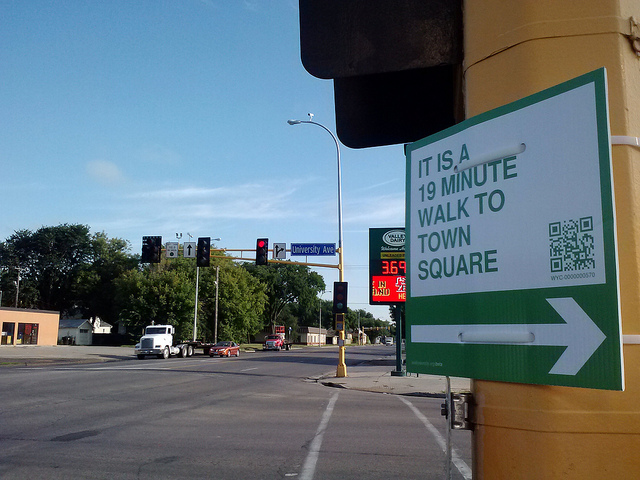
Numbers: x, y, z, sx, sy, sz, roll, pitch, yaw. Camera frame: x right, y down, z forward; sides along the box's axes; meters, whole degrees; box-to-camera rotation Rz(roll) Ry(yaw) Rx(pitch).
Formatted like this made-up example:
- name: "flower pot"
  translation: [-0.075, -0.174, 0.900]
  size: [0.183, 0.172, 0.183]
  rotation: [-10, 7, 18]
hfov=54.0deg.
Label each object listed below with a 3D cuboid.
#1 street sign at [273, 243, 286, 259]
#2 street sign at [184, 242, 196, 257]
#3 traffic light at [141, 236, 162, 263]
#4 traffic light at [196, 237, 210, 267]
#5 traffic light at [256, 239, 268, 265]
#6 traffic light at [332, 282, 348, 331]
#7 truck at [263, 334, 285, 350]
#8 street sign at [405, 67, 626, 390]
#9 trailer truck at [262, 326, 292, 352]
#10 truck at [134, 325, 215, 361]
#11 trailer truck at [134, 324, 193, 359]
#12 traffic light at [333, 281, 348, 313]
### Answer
- name: "street sign"
  translation: [-1.832, 0.475, 27.857]
  size: [0.586, 0.772, 0.100]
  rotation: [1, -23, -3]
- name: "street sign"
  translation: [-6.655, 0.474, 31.938]
  size: [0.512, 0.849, 1.806]
  rotation: [2, -11, -12]
- name: "traffic light"
  translation: [-7.020, 0.371, 26.112]
  size: [0.905, 1.434, 0.071]
  rotation: [-1, -4, -14]
- name: "traffic light"
  translation: [-5.186, 0.513, 27.908]
  size: [0.507, 1.311, 0.500]
  rotation: [4, 9, 2]
- name: "traffic light"
  translation: [-2.542, 0.458, 27.351]
  size: [0.442, 0.923, 0.569]
  rotation: [0, -9, 1]
- name: "traffic light"
  translation: [0.753, 2.558, 24.093]
  size: [0.503, 1.920, 0.367]
  rotation: [2, -24, 1]
- name: "truck"
  translation: [-5.538, 12.012, 74.274]
  size: [1.991, 1.831, 2.874]
  rotation: [0, -10, 0]
- name: "street sign"
  translation: [1.028, -0.031, 3.206]
  size: [0.117, 1.787, 1.515]
  rotation: [5, -8, -43]
- name: "trailer truck"
  translation: [-5.514, 12.445, 76.580]
  size: [2.295, 3.415, 7.175]
  rotation: [-2, -16, 8]
- name: "truck"
  translation: [-10.690, 7.453, 44.516]
  size: [1.749, 1.808, 6.518]
  rotation: [-5, -16, 12]
- name: "trailer truck"
  translation: [-11.122, 7.289, 43.594]
  size: [1.767, 2.010, 4.573]
  rotation: [-3, -18, 7]
- name: "traffic light"
  translation: [0.762, 2.211, 24.135]
  size: [0.445, 1.143, 0.686]
  rotation: [-1, -9, 8]
